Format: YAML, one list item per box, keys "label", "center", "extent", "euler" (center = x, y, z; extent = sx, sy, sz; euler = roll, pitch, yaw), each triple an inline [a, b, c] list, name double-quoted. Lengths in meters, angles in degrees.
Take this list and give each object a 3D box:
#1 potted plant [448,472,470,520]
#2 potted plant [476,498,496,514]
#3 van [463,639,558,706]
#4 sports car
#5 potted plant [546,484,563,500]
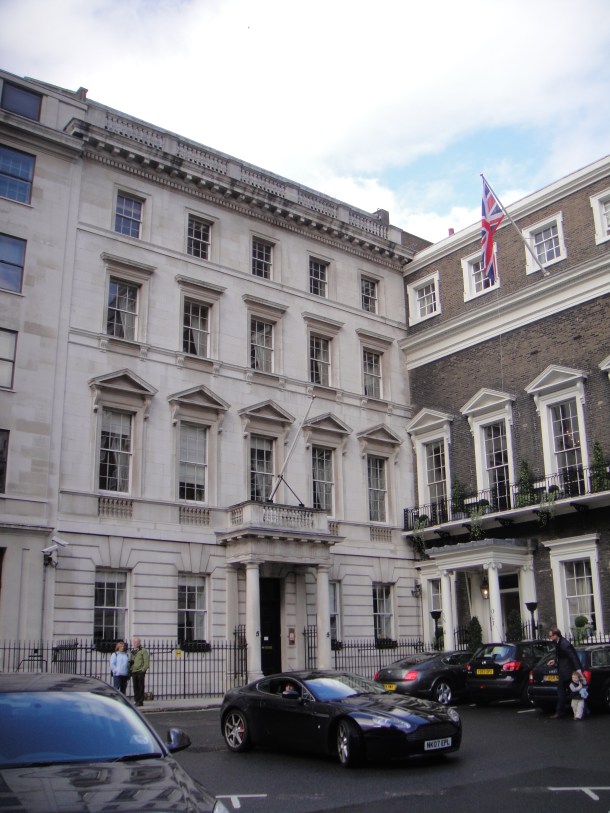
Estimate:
- label: "potted plant"
  center: [5.979, 3.537, 30.588]
  extent: [0.589, 1.563, 0.918]
  euler: [2, -10, -8]
- label: "potted plant"
  center: [6.673, 3.705, 29.418]
  extent: [0.590, 0.535, 0.539]
  euler: [6, -23, -10]
- label: "van"
  center: [5.007, 6.357, 19.081]
  extent: [2.268, 0.966, 1.221]
  euler: [9, -18, -38]
- label: "sports car"
  center: [0.475, 4.504, 11.340]
  extent: [1.574, 0.836, 2.927]
  euler: [22, -33, -35]
- label: "potted plant"
  center: [8.380, 2.891, 26.779]
  extent: [0.582, 0.622, 0.561]
  euler: [2, -10, -7]
